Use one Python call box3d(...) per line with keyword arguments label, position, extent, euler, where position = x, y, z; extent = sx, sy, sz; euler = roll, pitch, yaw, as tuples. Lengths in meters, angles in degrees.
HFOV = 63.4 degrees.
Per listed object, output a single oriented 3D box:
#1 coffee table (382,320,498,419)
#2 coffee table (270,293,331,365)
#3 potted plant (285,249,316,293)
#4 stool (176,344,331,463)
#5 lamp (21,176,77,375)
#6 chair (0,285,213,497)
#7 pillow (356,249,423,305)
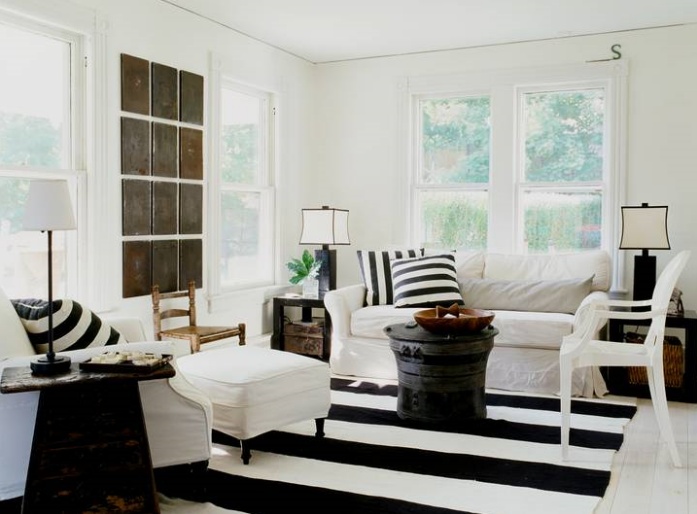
box3d(label="coffee table", position=(0.576, 0.711, 3.733), extent=(0.619, 0.484, 0.625), euler=(-1, -2, -5))
box3d(label="coffee table", position=(-0.398, 0.661, 5.254), extent=(0.569, 0.555, 0.574), euler=(0, 0, 18))
box3d(label="potted plant", position=(-0.413, 0.139, 5.370), extent=(0.396, 0.393, 0.399), euler=(-2, -1, -3))
box3d(label="stool", position=(-0.581, 0.683, 3.357), extent=(0.639, 0.489, 0.825), euler=(0, -2, -45))
box3d(label="lamp", position=(-1.393, 0.057, 2.663), extent=(0.212, 0.828, 0.772), euler=(-4, 9, -26))
box3d(label="chair", position=(-1.280, 0.607, 3.094), extent=(1.052, 1.065, 0.790), euler=(-2, 2, -27))
box3d(label="pillow", position=(0.246, 0.182, 5.035), extent=(0.538, 0.495, 0.158), euler=(-3, -14, -16))
